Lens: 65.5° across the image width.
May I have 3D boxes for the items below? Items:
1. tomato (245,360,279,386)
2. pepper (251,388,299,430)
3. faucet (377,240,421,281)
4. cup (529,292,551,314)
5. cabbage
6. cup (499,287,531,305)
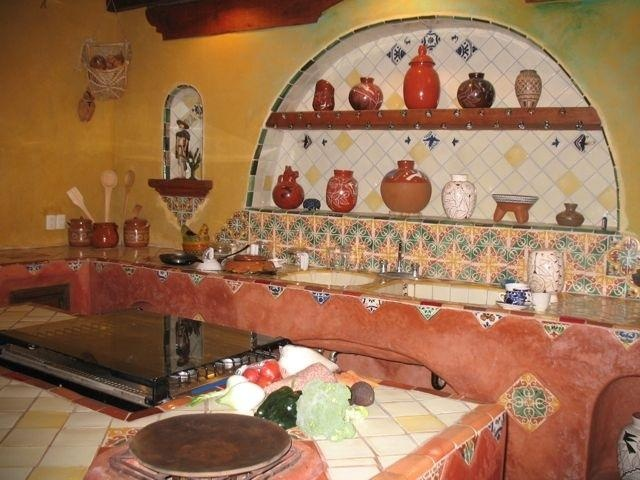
[{"bbox_3d":[-0.170,0.408,1.519,0.065,0.031,0.065,-9,14,-38],"label":"tomato"},{"bbox_3d":[-0.118,0.453,1.339,0.121,0.077,0.109,2,8,1],"label":"pepper"},{"bbox_3d":[0.532,0.113,3.228,0.351,0.202,0.348,0,15,25],"label":"faucet"},{"bbox_3d":[1.042,0.303,2.349,0.094,0.078,0.079,-2,-1,29],"label":"cup"},{"bbox_3d":[0.029,0.438,1.279,0.181,0.174,0.115,0,8,-14],"label":"cabbage"},{"bbox_3d":[0.952,0.277,2.469,0.105,0.080,0.081,0,1,30],"label":"cup"}]
